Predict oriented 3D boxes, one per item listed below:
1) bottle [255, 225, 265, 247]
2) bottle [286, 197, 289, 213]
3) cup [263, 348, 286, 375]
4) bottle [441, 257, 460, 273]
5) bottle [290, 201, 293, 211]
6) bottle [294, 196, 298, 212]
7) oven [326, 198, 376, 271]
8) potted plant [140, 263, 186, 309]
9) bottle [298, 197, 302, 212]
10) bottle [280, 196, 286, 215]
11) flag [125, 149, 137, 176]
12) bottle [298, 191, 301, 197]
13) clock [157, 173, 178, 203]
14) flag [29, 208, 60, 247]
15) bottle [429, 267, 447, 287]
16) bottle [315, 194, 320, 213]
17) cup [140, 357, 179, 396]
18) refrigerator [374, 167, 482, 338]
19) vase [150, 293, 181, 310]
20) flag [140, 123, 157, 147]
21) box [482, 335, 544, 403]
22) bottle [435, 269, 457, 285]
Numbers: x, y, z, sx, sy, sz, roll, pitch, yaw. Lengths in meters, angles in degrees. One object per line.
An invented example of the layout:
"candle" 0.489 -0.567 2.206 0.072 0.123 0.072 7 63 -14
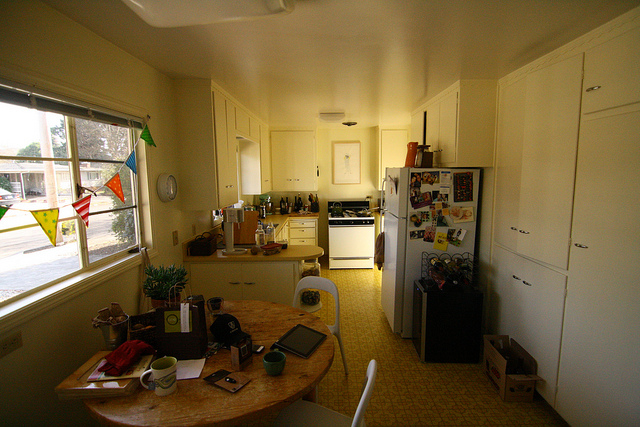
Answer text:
"bottle" -0.692 0.267 4.973 0.114 0.213 0.383 -3 6 -9
"bottle" -0.548 -0.139 7.401 0.042 0.244 0.144 -2 6 -4
"cup" -0.317 1.098 3.090 0.160 0.115 0.165 0 4 0
"bottle" 1.347 0.552 4.450 0.102 0.111 0.187 -4 7 -24
"bottle" -0.488 -0.114 7.452 0.043 0.148 0.066 -2 6 0
"bottle" -0.409 -0.152 7.438 0.055 0.264 0.104 -2 6 0
"oven" 0.529 0.350 7.224 0.797 1.135 0.687 -1 6 5
"potted plant" -1.339 0.681 3.747 0.311 0.419 0.352 11 -12 -29
"bottle" -0.337 -0.153 7.441 0.071 0.222 0.108 -2 6 -3
"bottle" -0.627 -0.134 7.333 0.098 0.281 0.271 -2 6 -4
"flag" -1.685 -0.457 3.854 0.065 0.227 0.222 -2 6 -6
"bottle" -0.348 -0.319 7.470 0.054 0.087 0.036 -3 6 -15
"clock" -1.513 -0.248 4.247 0.084 0.284 0.287 -2 7 11
"flag" -2.041 0.098 3.173 0.046 0.354 0.240 -3 9 19
"bottle" 1.221 0.665 4.413 0.166 0.076 0.300 5 5 3
"bottle" -0.042 -0.165 7.430 0.070 0.297 0.167 -1 6 4
"cup" -1.105 1.151 2.949 0.243 0.175 0.156 -1 -5 -28
"refrigerator" 1.197 0.435 4.829 1.159 1.885 0.573 0 7 19
"vase" -1.288 0.742 3.592 0.218 0.082 0.199 -1 3 -33
"flag" -1.577 -0.715 3.942 0.012 0.241 0.226 -17 7 7
"box" 1.800 1.485 4.043 0.311 0.389 0.590 -2 10 -6
"bottle" 1.315 0.656 4.424 0.254 0.068 0.078 43 15 25
